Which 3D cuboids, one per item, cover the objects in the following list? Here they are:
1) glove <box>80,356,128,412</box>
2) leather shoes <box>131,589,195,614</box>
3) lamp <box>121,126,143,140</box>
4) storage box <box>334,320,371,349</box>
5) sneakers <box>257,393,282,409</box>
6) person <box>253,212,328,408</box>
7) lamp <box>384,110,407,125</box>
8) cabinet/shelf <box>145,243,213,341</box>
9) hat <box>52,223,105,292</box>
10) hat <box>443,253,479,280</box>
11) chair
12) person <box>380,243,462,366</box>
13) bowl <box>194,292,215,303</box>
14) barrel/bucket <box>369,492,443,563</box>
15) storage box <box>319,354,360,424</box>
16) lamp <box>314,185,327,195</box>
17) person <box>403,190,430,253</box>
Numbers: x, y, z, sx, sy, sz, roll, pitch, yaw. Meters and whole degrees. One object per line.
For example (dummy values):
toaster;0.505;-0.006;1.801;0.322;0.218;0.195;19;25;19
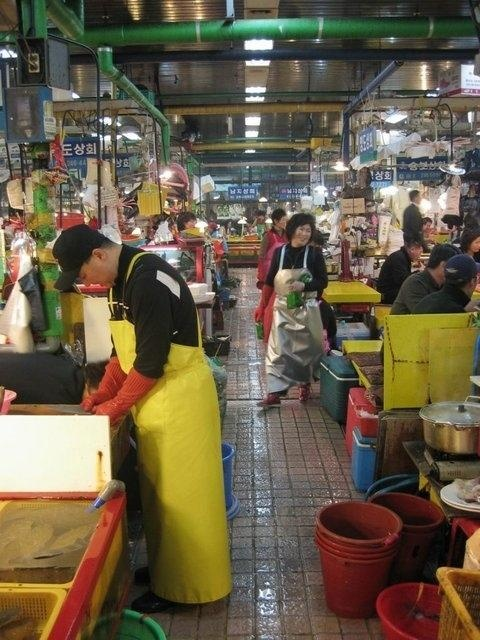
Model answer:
glove;-0.584;0.293;2.232;0.074;0.262;0.153;38;-6;-24
leather shoes;-0.362;1.263;2.332;0.256;0.107;0.094;5;0;-2
lamp;-2.183;-3.710;10.182;0.282;0.126;1.580;6;13;-11
storage box;1.341;0.134;6.058;0.343;0.148;0.460;1;11;4
sneakers;0.315;0.805;5.109;0.285;0.196;0.101;2;7;-5
person;0.476;-0.103;4.790;0.655;1.760;0.531;-4;12;-4
lamp;2.430;-3.135;7.917;0.268;0.173;0.699;10;13;9
cabinet/shelf;-0.800;-0.520;6.632;0.879;1.121;0.808;-6;11;-3
hat;-0.624;-0.230;1.976;0.187;0.270;0.177;6;13;-12
hat;1.307;-0.304;3.029;0.133;0.107;0.188;4;36;32
chair;1.094;0.209;3.153;0.576;0.398;0.571;-2;8;6
person;1.308;-0.287;4.033;0.448;0.804;0.356;22;23;28
bowl;-0.424;-0.270;5.827;0.222;0.049;0.210;-4;6;0
barrel/bucket;0.827;0.967;2.464;0.279;0.206;0.280;-2;17;1
storage box;0.858;0.585;4.354;0.302;0.474;0.552;3;19;-1
lamp;2.948;-4.769;18.567;0.376;0.279;0.369;1;6;-7
person;3.067;-1.825;8.888;0.368;1.030;0.295;-18;52;-1
